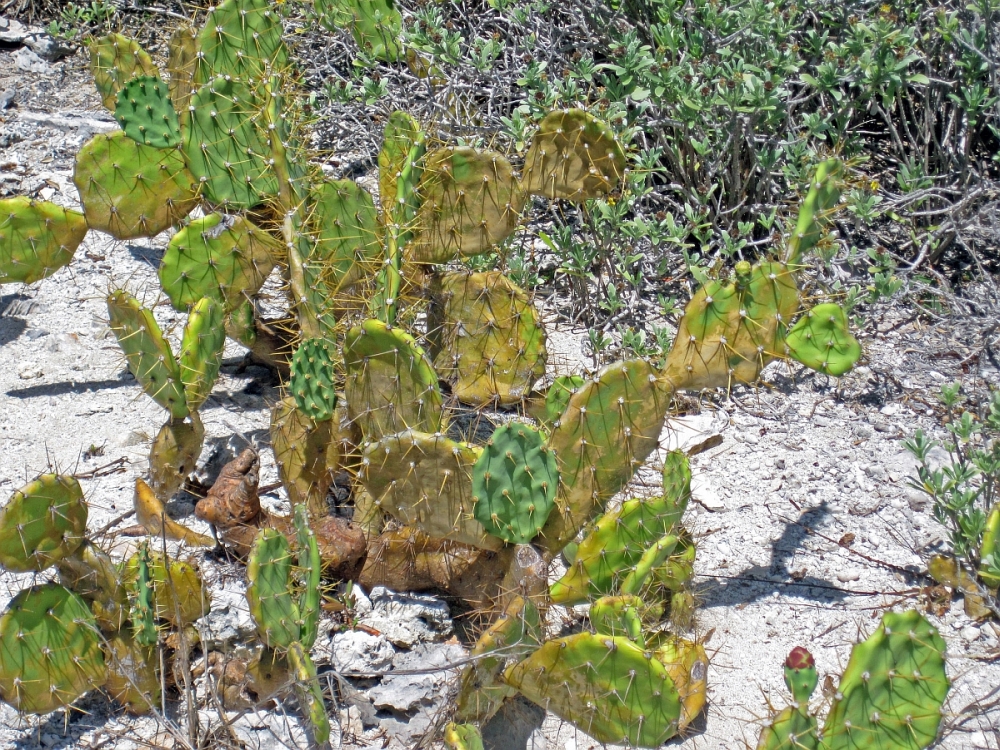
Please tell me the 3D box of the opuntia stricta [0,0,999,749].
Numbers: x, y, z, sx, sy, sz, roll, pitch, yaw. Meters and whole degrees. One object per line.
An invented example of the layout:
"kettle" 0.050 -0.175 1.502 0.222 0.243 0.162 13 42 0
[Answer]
"opuntia stricta" -0.297 0.049 4.080 2.662 1.141 2.437 28 64 3
